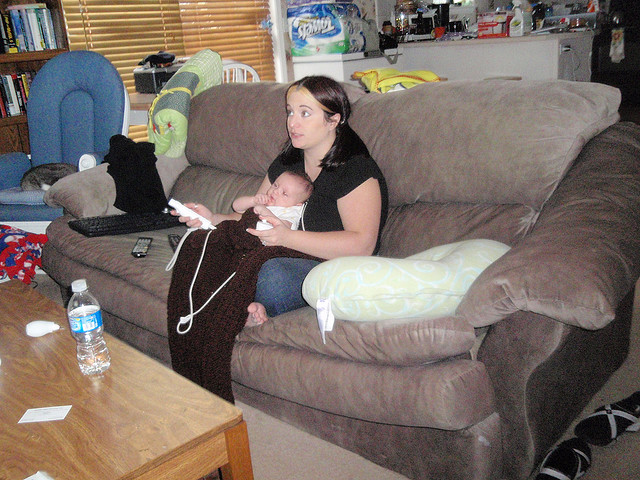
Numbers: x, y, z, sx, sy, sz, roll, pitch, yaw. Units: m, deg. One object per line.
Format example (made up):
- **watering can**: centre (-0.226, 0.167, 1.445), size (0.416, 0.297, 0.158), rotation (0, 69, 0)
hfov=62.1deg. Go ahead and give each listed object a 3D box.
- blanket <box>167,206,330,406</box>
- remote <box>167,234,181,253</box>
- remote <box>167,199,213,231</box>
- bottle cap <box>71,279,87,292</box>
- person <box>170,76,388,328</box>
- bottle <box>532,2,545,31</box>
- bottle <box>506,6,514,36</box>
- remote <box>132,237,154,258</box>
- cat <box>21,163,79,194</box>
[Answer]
- **blanket**: centre (-0.207, 0.318, 2.195), size (0.703, 0.709, 0.274), rotation (17, -4, 43)
- **remote**: centre (-0.686, 0.013, 2.472), size (0.043, 0.048, 0.172), rotation (14, 2, -22)
- **remote**: centre (-0.576, -0.108, 2.370), size (0.241, 0.062, 0.092), rotation (28, -35, -26)
- **bottle cap**: centre (-0.720, 0.137, 1.589), size (0.035, 0.021, 0.034), rotation (1, 4, 11)
- **person**: centre (-0.050, -0.192, 2.478), size (0.980, 1.200, 0.976), rotation (-5, 14, -26)
- **bottle**: centre (1.909, -1.960, 4.643), size (0.087, 0.231, 0.431), rotation (4, 19, 20)
- **bottle**: centre (1.513, -1.749, 4.246), size (0.058, 0.230, 0.390), rotation (3, 19, 18)
- **remote**: centre (-0.807, 0.034, 2.426), size (0.076, 0.034, 0.127), rotation (8, 42, 0)
- **cat**: centre (-1.632, -0.412, 3.329), size (0.283, 0.127, 0.364), rotation (-11, 6, 30)
